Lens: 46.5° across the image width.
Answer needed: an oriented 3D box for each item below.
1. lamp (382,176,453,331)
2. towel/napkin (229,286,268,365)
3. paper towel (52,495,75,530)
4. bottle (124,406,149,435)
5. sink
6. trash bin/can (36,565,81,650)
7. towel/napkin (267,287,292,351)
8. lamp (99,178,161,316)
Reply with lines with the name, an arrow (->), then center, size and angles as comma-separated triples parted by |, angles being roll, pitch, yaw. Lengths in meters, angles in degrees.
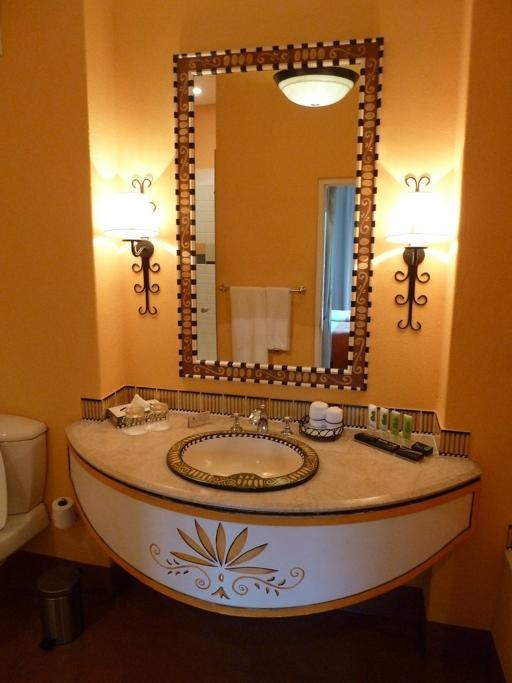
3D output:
lamp -> 0.532, -0.291, 1.967 | 0.202, 0.534, 0.169 | 3, 7, 18
towel/napkin -> -0.027, -0.046, 2.238 | 0.131, 0.297, 0.029 | 1, -1, 35
paper towel -> -0.757, 0.674, 2.343 | 0.093, 0.087, 0.113 | 2, 6, 5
bottle -> -0.450, 0.300, 2.199 | 0.084, 0.154, 0.082 | 4, 27, -2
sink -> -0.044, 0.399, 1.880 | 0.476, 0.130, 0.406 | 3, 6, 16
trash bin/can -> -0.720, 1.005, 2.222 | 0.159, 0.235, 0.248 | -1, 5, 2
towel/napkin -> 0.084, -0.080, 2.213 | 0.107, 0.235, 0.031 | 6, 13, 39
lamp -> -0.473, -0.360, 2.242 | 0.207, 0.539, 0.242 | 2, 7, 11
